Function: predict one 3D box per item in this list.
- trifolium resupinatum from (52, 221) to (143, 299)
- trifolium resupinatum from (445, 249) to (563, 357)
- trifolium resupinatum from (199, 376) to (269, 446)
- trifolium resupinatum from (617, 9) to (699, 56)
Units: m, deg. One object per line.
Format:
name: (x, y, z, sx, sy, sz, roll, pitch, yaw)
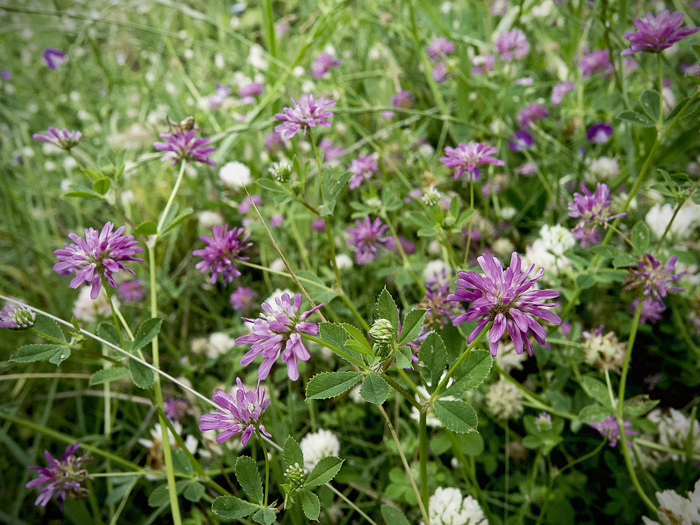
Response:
trifolium resupinatum: (-0.665, -0.010, 1.649, 0.225, 0.164, 0.155, -19, 40, -14)
trifolium resupinatum: (0.373, 0.086, 1.543, 0.297, 0.137, 0.298, -18, 21, -17)
trifolium resupinatum: (-0.280, 0.368, 1.642, 0.139, 0.106, 0.160, 5, -1, -19)
trifolium resupinatum: (0.821, -0.615, 1.653, 0.172, 0.126, 0.144, 11, 43, 21)
